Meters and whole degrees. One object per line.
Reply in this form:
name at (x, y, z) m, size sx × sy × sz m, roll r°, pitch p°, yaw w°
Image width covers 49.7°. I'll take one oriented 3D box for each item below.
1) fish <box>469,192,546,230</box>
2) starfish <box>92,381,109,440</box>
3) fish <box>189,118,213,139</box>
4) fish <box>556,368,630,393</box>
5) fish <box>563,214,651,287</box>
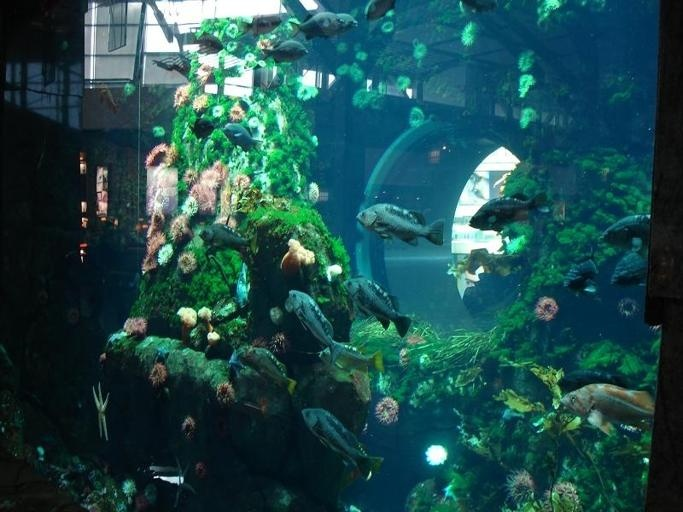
fish at (2.410, -0.610, 10.462) m, size 0.914 × 0.417 × 0.218 m, roll -22°, pitch 23°, yaw 18°
starfish at (-3.905, 2.529, 12.028) m, size 0.233 × 0.872 × 0.095 m, roll -1°, pitch -6°, yaw -2°
fish at (-2.063, -1.912, 10.984) m, size 0.314 × 0.289 × 0.225 m, roll 0°, pitch -7°, yaw 23°
fish at (3.395, 1.738, 10.221) m, size 1.077 × 0.473 × 0.300 m, roll -8°, pitch -25°, yaw 33°
fish at (3.737, 0.019, 9.806) m, size 1.516 × 0.686 × 0.532 m, roll -14°, pitch -31°, yaw 21°
